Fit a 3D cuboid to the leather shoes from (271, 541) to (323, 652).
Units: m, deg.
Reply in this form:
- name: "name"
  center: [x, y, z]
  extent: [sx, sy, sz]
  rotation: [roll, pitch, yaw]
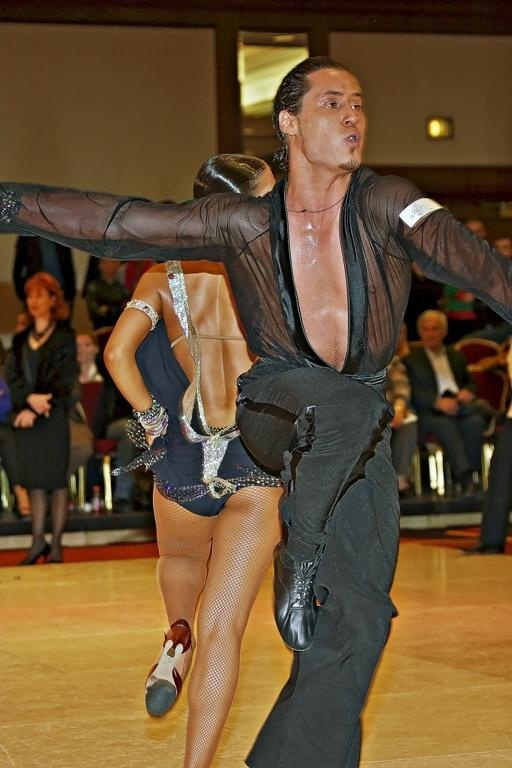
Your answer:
- name: "leather shoes"
  center: [0.065, 0.359, 1.184]
  extent: [0.068, 0.188, 0.082]
  rotation: [-2, 0, -4]

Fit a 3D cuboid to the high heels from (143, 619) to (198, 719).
- name: "high heels"
  center: [-0.186, 0.678, 1.781]
  extent: [0.089, 0.105, 0.265]
  rotation: [18, 44, 4]

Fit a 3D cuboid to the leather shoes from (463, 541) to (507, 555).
- name: "leather shoes"
  center: [1.591, 1.158, 5.018]
  extent: [0.341, 0.124, 0.103]
  rotation: [3, -16, 1]
